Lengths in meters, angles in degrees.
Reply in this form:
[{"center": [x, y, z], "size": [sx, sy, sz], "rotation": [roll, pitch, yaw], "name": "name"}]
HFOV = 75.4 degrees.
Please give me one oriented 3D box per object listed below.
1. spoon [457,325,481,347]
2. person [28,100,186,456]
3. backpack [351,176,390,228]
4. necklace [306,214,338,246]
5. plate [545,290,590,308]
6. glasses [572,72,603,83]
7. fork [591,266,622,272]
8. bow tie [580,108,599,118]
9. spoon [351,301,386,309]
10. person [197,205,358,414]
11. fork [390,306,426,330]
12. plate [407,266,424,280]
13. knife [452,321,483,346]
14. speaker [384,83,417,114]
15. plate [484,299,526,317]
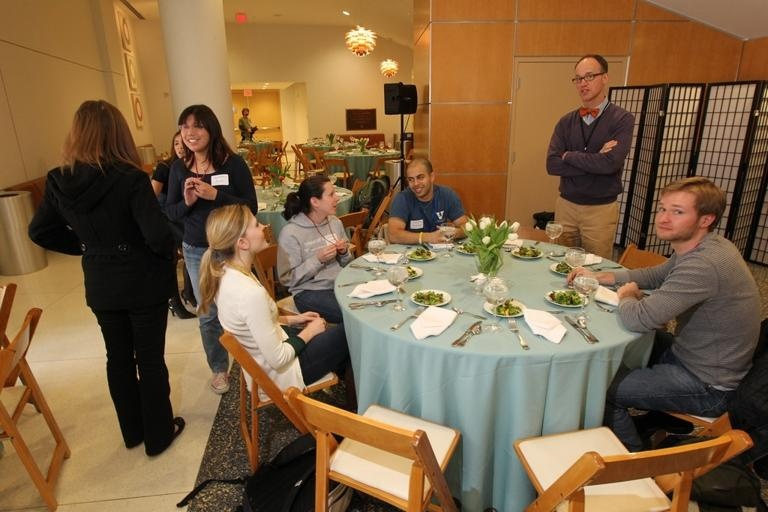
[{"center": [0.504, 0.476, 2.973], "size": [0.066, 0.034, 0.253], "rotation": [8, 25, 30], "name": "spoon"}, {"center": [-1.741, 0.197, 3.385], "size": [0.527, 2.402, 0.494], "rotation": [-18, 24, -41], "name": "person"}, {"center": [-0.139, -0.748, 6.644], "size": [0.646, 0.654, 0.475], "rotation": [-15, 25, -32], "name": "backpack"}, {"center": [-0.509, -0.222, 4.123], "size": [0.146, 0.248, 0.062], "rotation": [-30, 2, -44], "name": "necklace"}, {"center": [1.189, 0.276, 3.235], "size": [0.143, 0.043, 0.144], "rotation": [0, 23, 4], "name": "plate"}, {"center": [1.746, -1.529, 4.246], "size": [0.242, 0.077, 0.135], "rotation": [6, 19, 23], "name": "glasses"}, {"center": [1.649, 0.092, 3.693], "size": [0.250, 0.036, 0.030], "rotation": [-1, -10, -13], "name": "fork"}, {"center": [1.804, -1.267, 4.366], "size": [0.045, 0.071, 0.150], "rotation": [-16, 22, -37], "name": "bow tie"}, {"center": [-0.121, 0.318, 3.280], "size": [0.281, 0.041, 0.073], "rotation": [-2, 11, -2], "name": "spoon"}, {"center": [-0.760, 0.396, 3.522], "size": [0.979, 1.497, 0.651], "rotation": [-34, 46, -24], "name": "person"}, {"center": [0.146, 0.394, 3.119], "size": [0.201, 0.027, 0.035], "rotation": [-29, 49, -30], "name": "fork"}, {"center": [0.222, 0.116, 3.604], "size": [0.096, 0.016, 0.095], "rotation": [3, 31, 3], "name": "plate"}, {"center": [0.498, 0.475, 2.976], "size": [0.077, 0.033, 0.299], "rotation": [9, 27, 31], "name": "knife"}, {"center": [0.217, -2.095, 6.613], "size": [0.505, 0.508, 0.272], "rotation": [-3, 15, -12], "name": "speaker"}, {"center": [0.764, 0.338, 3.150], "size": [0.143, 0.039, 0.149], "rotation": [6, 17, 33], "name": "plate"}]
